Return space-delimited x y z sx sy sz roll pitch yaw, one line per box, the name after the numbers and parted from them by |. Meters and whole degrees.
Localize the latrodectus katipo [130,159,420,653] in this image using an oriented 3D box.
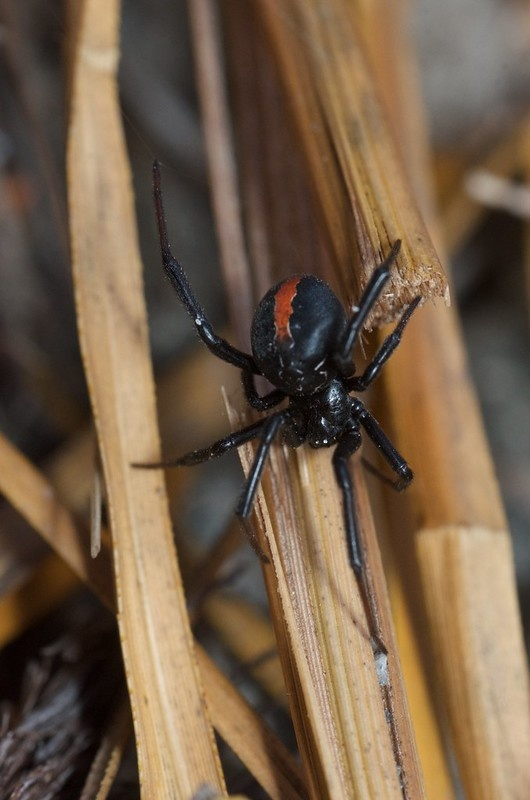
0.065 0.029 0.964 0.332 0.127 0.507 -17 63 20 | latrodectus katipo
